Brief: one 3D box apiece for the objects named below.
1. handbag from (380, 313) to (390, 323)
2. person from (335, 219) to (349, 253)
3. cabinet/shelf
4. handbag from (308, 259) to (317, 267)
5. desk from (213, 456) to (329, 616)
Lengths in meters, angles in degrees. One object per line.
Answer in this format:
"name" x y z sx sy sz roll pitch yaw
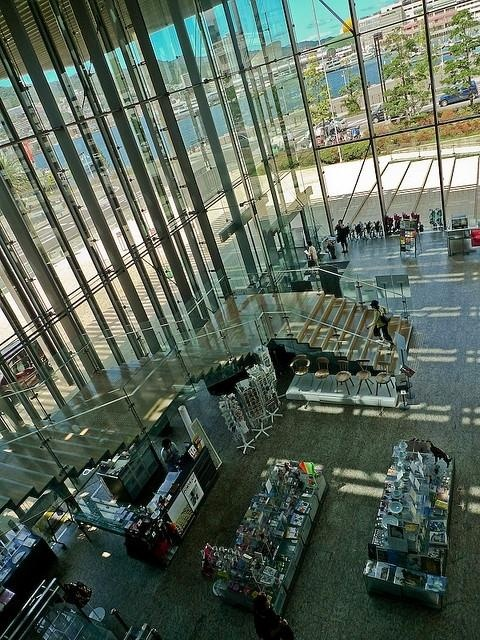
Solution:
"handbag" 3.786 -0.037 10.319 0.127 0.321 0.282 -6 3 0
"person" 4.135 -3.359 16.313 0.438 1.304 0.698 -7 30 34
"cabinet/shelf" -2.227 2.990 7.991 0.483 1.321 1.232 4 47 34
"handbag" 2.467 -1.916 13.683 0.072 0.250 0.285 -3 11 -41
"desk" 0.531 3.342 6.410 1.085 0.972 2.199 -5 28 34
